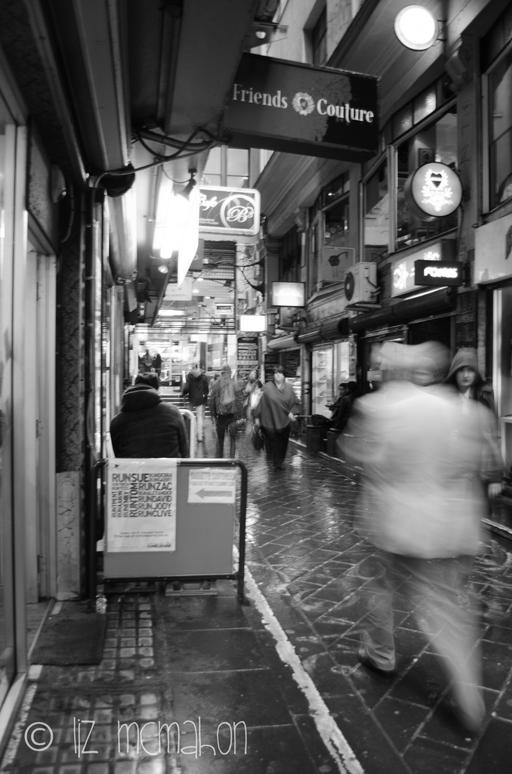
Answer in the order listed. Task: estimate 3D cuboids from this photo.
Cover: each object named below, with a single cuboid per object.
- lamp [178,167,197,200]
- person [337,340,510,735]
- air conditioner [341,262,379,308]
[{"bbox_3d":[-0.521,-1.619,5.140,0.098,0.216,0.198,7,-27,-7],"label":"lamp"},{"bbox_3d":[0.783,0.596,3.056,0.685,1.621,0.778,1,0,22],"label":"person"},{"bbox_3d":[1.872,-1.828,11.415,0.403,0.739,0.736,1,0,-9],"label":"air conditioner"}]
